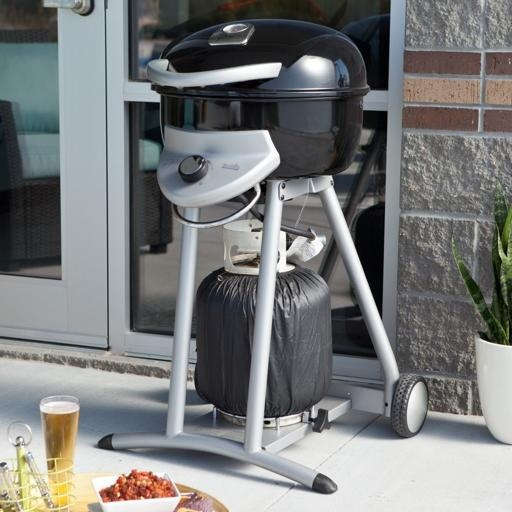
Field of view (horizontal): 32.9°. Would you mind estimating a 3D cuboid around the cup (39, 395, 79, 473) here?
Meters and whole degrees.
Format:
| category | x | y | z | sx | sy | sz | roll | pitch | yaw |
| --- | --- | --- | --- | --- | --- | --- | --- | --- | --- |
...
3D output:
| category | x | y | z | sx | sy | sz | roll | pitch | yaw |
| --- | --- | --- | --- | --- | --- | --- | --- | --- | --- |
| cup | -0.332 | 0.312 | 1.466 | 0.064 | 0.125 | 0.190 | -3 | 12 | -14 |
